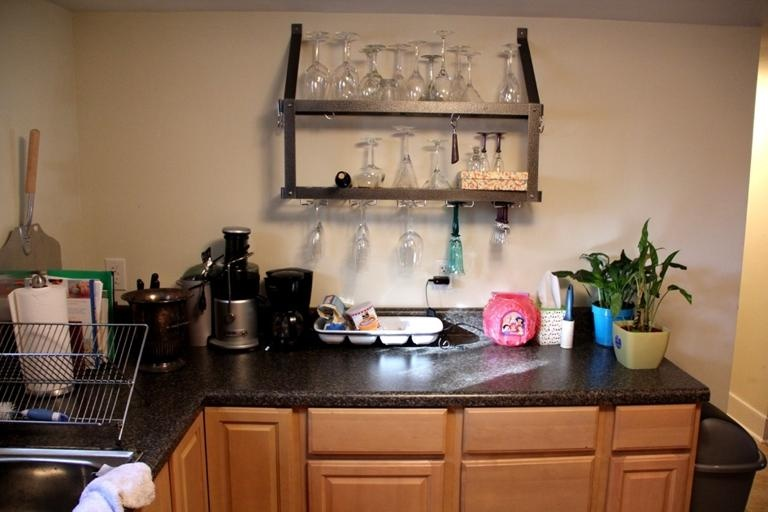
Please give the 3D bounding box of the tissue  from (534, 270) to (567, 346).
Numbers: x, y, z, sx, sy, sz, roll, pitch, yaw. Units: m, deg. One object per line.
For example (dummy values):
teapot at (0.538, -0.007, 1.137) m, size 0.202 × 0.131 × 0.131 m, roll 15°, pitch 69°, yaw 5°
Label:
tissue  at (0.862, 0.268, 3.267) m, size 0.155 × 0.375 × 0.147 m, roll 2°, pitch 12°, yaw -3°

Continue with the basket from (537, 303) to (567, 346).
basket at (0.871, 0.352, 3.279) m, size 0.148 × 0.208 × 0.141 m, roll -10°, pitch 21°, yaw -21°

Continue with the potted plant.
potted plant at (1.194, 0.208, 3.202) m, size 0.599 × 0.845 × 0.478 m, roll 7°, pitch 13°, yaw 13°

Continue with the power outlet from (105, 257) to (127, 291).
power outlet at (-1.452, 0.095, 3.359) m, size 0.116 × 0.180 × 0.055 m, roll 0°, pitch 3°, yaw -22°

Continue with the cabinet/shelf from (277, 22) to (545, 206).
cabinet/shelf at (0.148, -0.744, 3.195) m, size 1.380 × 0.935 × 0.293 m, roll 1°, pitch 2°, yaw -3°

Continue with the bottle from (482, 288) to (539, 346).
bottle at (0.663, 0.331, 3.253) m, size 0.271 × 0.268 × 0.229 m, roll 2°, pitch 2°, yaw 26°

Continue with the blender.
blender at (-0.828, 0.158, 3.174) m, size 0.398 × 0.613 × 0.246 m, roll 2°, pitch 3°, yaw 27°

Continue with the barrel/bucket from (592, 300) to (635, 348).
barrel/bucket at (1.200, 0.353, 3.301) m, size 0.217 × 0.210 × 0.216 m, roll 0°, pitch 10°, yaw 0°

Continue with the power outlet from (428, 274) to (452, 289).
power outlet at (0.308, 0.135, 3.390) m, size 0.113 × 0.058 × 0.026 m, roll -1°, pitch 24°, yaw 6°
